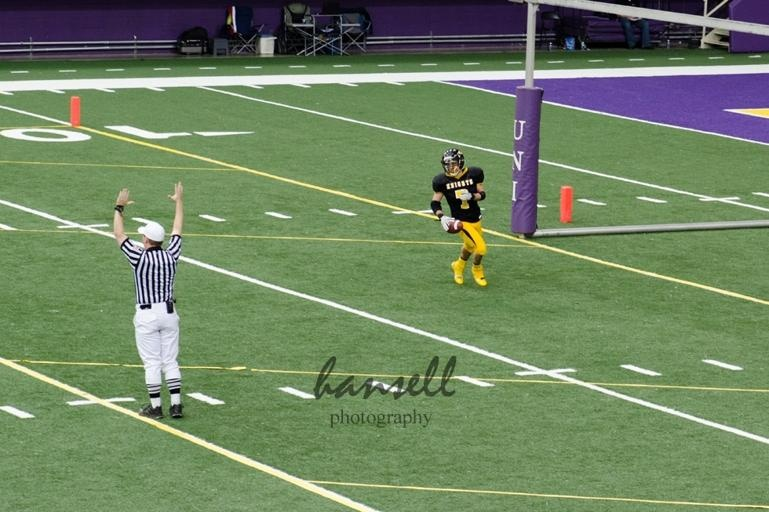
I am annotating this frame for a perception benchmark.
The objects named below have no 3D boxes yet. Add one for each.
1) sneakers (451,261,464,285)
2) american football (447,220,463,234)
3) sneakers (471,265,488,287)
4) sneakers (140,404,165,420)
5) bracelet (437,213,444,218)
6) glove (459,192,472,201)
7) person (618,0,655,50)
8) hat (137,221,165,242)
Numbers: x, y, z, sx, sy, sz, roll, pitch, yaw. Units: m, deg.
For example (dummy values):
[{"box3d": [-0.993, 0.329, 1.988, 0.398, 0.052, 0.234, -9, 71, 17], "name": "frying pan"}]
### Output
[{"box3d": [1.318, 0.279, 29.190, 0.210, 0.427, 0.218, -5, -28, -8], "name": "sneakers"}, {"box3d": [1.212, -0.518, 28.648, 0.272, 0.172, 0.279, 1, 3, -14], "name": "american football"}, {"box3d": [1.679, 0.339, 29.093, 0.207, 0.202, 0.467, -14, 39, -9], "name": "sneakers"}, {"box3d": [-3.447, 2.302, 24.511, 0.415, 0.125, 0.155, 6, 8, 23], "name": "sneakers"}, {"box3d": [0.997, -0.716, 28.866, 0.104, 0.049, 0.086, 0, -3, 19], "name": "bracelet"}, {"box3d": [1.429, -1.040, 28.764, 0.201, 0.173, 0.204, 4, 14, 2], "name": "glove"}, {"box3d": [8.883, -7.876, 58.271, 1.216, 1.113, 1.136, 4, 14, 1], "name": "person"}, {"box3d": [-3.491, -0.386, 24.601, 0.517, 0.191, 0.354, 17, 17, 35], "name": "hat"}]
